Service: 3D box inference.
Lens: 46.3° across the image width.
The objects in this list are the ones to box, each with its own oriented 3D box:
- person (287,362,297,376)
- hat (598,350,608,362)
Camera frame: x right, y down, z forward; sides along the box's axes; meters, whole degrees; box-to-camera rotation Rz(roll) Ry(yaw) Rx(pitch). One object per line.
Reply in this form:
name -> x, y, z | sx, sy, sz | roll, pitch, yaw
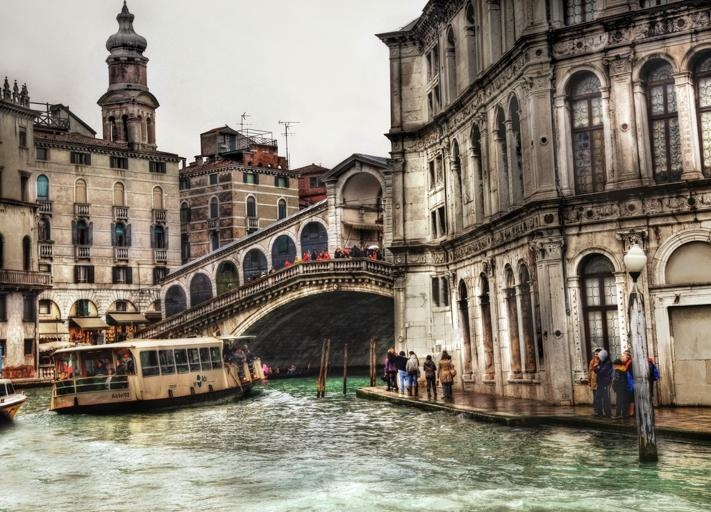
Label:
person -> -5.416, 9.496, 70.305 | 0.787, 1.132, 0.883 | 1, -17, -2
hat -> 8.509, 3.404, 28.535 | 0.285, 0.351, 0.358 | 6, 1, 12
